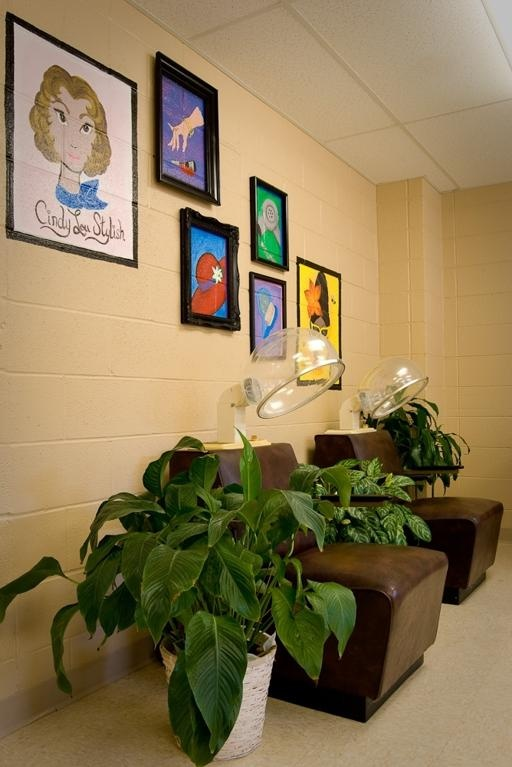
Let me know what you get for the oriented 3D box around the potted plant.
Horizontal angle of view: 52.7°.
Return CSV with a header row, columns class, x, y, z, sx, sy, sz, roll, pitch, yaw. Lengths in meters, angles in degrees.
class,x,y,z,sx,sy,sz,roll,pitch,yaw
potted plant,-0.191,0.452,1.352,0.762,0.623,0.802,-4,-4,40
